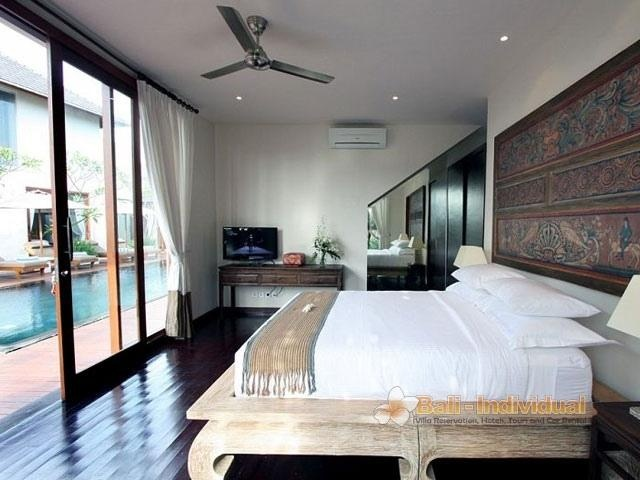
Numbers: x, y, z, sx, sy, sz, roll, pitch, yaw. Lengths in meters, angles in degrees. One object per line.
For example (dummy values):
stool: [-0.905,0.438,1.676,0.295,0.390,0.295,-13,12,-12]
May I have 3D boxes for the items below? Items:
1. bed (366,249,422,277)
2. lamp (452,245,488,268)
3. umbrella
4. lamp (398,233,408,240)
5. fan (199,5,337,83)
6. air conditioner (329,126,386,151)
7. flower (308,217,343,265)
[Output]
bed: [1.036,0.326,5.966,0.654,0.348,0.381,1,3,4]
lamp: [1.717,0.192,4.720,0.285,0.198,0.265,0,-2,17]
umbrella: [-2.404,-0.162,3.804,0.553,0.634,0.622,-1,1,16]
lamp: [1.197,-0.044,5.922,0.097,0.064,0.088,0,-8,2]
fan: [-0.522,-1.674,3.637,1.031,0.503,0.749,-2,4,-36]
air conditioner: [0.547,-1.440,5.883,0.823,0.282,0.116,0,4,3]
flower: [-0.005,0.035,6.136,0.580,0.816,0.585,-1,-2,-4]
